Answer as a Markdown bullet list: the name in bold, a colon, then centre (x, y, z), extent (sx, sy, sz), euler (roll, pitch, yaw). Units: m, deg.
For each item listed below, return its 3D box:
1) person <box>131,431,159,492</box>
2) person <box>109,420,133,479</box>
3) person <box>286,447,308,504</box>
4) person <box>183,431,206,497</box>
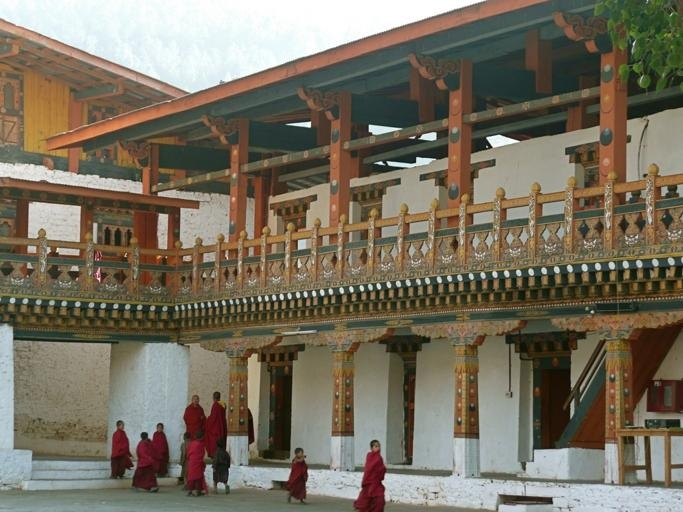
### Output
- **person**: centre (-4.004, 4.192, 33.044), extent (0.508, 1.194, 0.757), euler (3, -13, -8)
- **person**: centre (-4.641, 4.053, 33.960), extent (0.450, 1.214, 1.397), euler (2, -13, -3)
- **person**: centre (-0.871, 4.254, 31.306), extent (0.380, 1.108, 1.014), euler (2, -13, -1)
- **person**: centre (-2.953, 4.213, 32.611), extent (0.398, 1.323, 1.129), euler (3, -13, -7)
